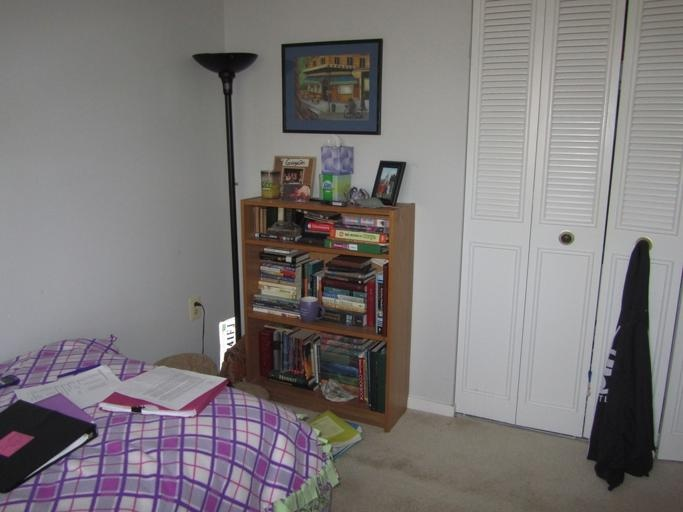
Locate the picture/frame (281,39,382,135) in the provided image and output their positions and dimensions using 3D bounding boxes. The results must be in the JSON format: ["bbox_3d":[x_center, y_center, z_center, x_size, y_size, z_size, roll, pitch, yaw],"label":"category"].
[{"bbox_3d":[-0.033,-1.057,3.193,0.665,0.520,0.015,-16,22,-38],"label":"picture/frame"}]

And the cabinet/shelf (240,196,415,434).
[{"bbox_3d":[-0.043,0.335,3.078,1.185,1.546,0.395,6,11,26],"label":"cabinet/shelf"}]

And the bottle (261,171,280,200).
[{"bbox_3d":[-0.452,-0.459,3.282,0.130,0.172,0.161,8,11,17],"label":"bottle"}]

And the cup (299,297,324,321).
[{"bbox_3d":[-0.193,0.323,3.216,0.104,0.123,0.159,-11,19,-40],"label":"cup"}]

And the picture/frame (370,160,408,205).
[{"bbox_3d":[0.290,-0.431,3.038,0.040,0.298,0.225,19,0,-44],"label":"picture/frame"}]

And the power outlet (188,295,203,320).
[{"bbox_3d":[-0.974,0.338,3.389,0.077,0.162,0.157,1,5,16],"label":"power outlet"}]
